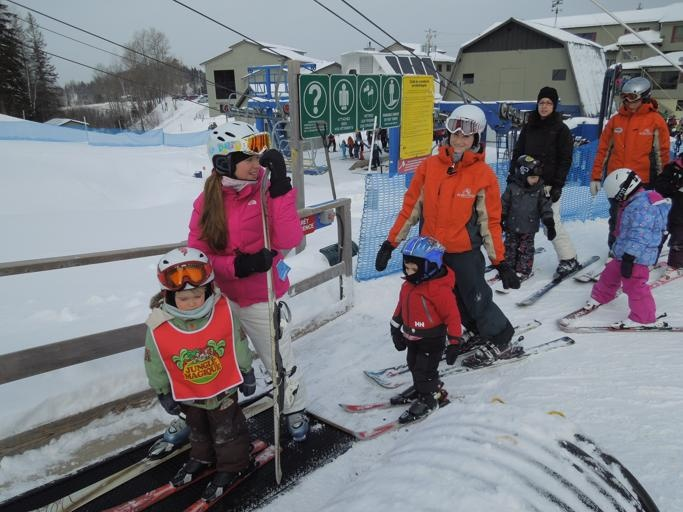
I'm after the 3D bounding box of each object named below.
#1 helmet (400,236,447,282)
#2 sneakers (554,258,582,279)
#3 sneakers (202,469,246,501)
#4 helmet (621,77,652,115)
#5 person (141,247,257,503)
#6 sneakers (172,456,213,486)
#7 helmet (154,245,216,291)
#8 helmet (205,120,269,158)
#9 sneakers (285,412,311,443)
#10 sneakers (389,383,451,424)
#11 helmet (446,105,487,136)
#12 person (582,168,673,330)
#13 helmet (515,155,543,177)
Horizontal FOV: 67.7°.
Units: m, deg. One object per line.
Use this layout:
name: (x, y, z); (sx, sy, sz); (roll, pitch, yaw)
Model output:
helmet: (0.709, 0.034, 4.332); (0.408, 0.401, 0.326); (1, 4, -19)
sneakers: (3.137, 0.170, 7.082); (0.528, 0.197, 0.169); (-19, 10, -35)
sneakers: (-0.885, 1.685, 3.815); (0.110, 0.115, 0.329); (14, 11, 29)
helmet: (3.775, -2.058, 6.512); (0.333, 0.418, 0.357); (7, 18, 28)
person: (-1.053, 0.845, 3.760); (0.772, 1.782, 0.633); (-5, 16, -8)
sneakers: (-1.149, 1.645, 3.941); (0.127, 0.135, 0.355); (6, -2, 32)
helmet: (-1.130, 0.086, 3.618); (0.279, 0.262, 0.361); (-13, -8, -17)
helmet: (-0.800, -0.911, 3.860); (0.381, 0.220, 0.287); (15, 22, 0)
sneakers: (-0.375, 1.430, 4.315); (0.148, 0.094, 0.246); (-20, 44, -1)
sneakers: (0.710, 1.326, 4.522); (0.408, 0.152, 0.293); (-16, 12, -27)
helmet: (1.136, -1.244, 4.663); (0.277, 0.259, 0.353); (24, 36, 32)
person: (3.177, -0.093, 5.569); (0.611, 1.659, 0.758); (-4, 16, -6)
helmet: (2.388, -1.158, 6.544); (0.240, 0.239, 0.314); (-5, 9, -15)
